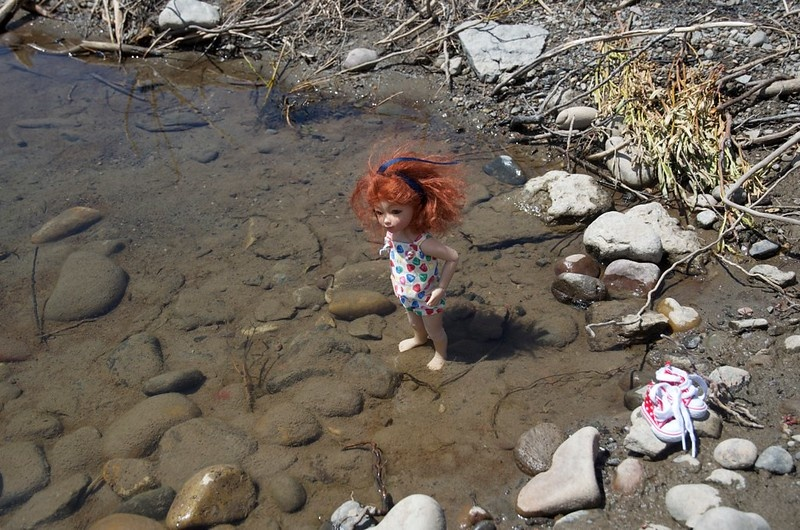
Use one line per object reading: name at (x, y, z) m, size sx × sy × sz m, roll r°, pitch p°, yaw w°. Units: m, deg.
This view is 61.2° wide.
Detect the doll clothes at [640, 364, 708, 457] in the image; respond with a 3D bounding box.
doll clothes at (2.304, 1.206, 5.649) m, size 0.499 × 0.352 × 0.716 m, roll -24°, pitch 35°, yaw 2°
